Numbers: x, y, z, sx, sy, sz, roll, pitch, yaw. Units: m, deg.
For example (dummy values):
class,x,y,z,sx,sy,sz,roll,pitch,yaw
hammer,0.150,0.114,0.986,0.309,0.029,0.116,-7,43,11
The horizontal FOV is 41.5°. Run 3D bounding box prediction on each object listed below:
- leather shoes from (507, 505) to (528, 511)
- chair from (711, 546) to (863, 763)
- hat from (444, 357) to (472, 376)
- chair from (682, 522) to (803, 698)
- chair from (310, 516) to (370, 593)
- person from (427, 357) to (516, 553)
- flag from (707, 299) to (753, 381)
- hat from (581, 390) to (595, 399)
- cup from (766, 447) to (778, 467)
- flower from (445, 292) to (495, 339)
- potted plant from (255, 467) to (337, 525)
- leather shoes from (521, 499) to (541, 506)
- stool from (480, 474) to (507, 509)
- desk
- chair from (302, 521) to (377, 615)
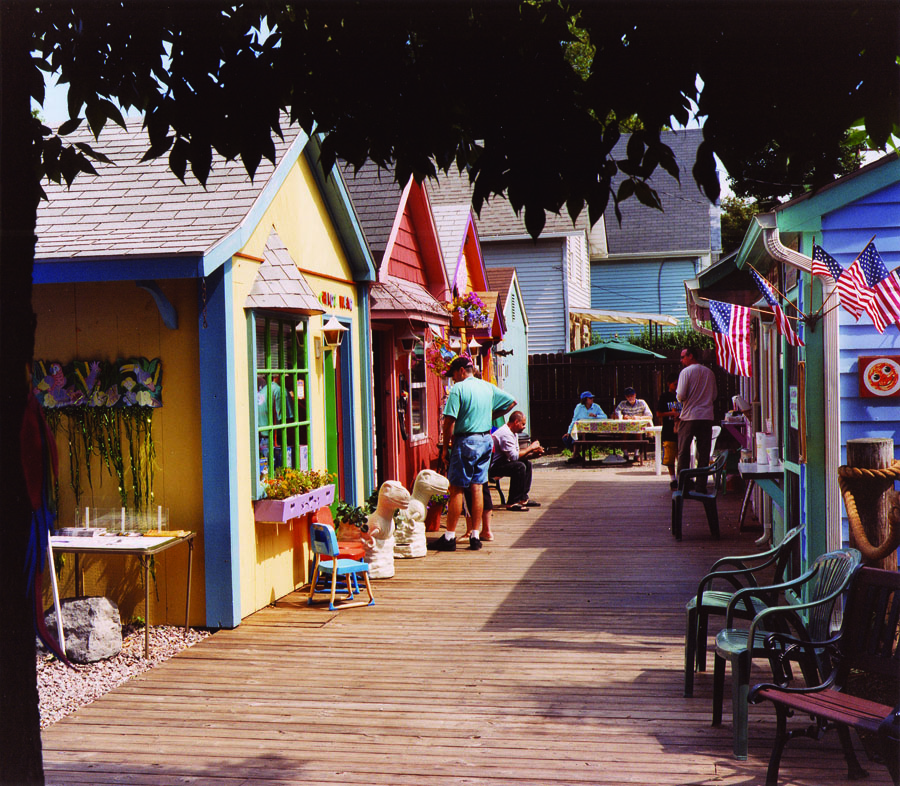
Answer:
class,x,y,z,sx,sy,sz,roll,pitch,yaw
leather shoes,0.810,1.386,14.302,0.096,0.061,0.184,-1,-4,-41
chair,1.818,1.341,6.409,0.831,1.483,0.894,0,-3,-2
hat,0.075,-0.225,11.911,0.202,0.248,0.166,-13,8,36
chair,1.688,1.305,6.941,0.550,1.013,0.598,3,3,21
chair,-0.839,1.305,9.275,0.478,0.834,0.493,-1,1,-24
person,0.162,0.583,11.785,0.580,1.858,0.912,0,3,4
flag,1.974,-0.392,8.374,0.263,0.510,0.314,0,3,12
hat,2.275,0.046,20.110,0.207,0.127,0.152,-1,7,29
cup,2.800,0.562,10.301,0.132,0.200,0.105,2,5,19
flower,0.164,-1.049,16.229,0.545,0.428,0.640,5,-7,-26
potted plant,-1.209,0.767,9.186,0.247,0.345,1.122,0,3,13
leather shoes,0.981,1.364,14.676,0.202,0.087,0.099,-4,-37,4
stool,0.566,1.295,15.676,0.300,0.571,0.357,-1,-5,2
desk,-2.200,1.318,8.012,1.052,0.760,0.946,0,3,22
chair,-0.853,1.305,9.118,0.393,0.675,0.492,-2,3,-15
